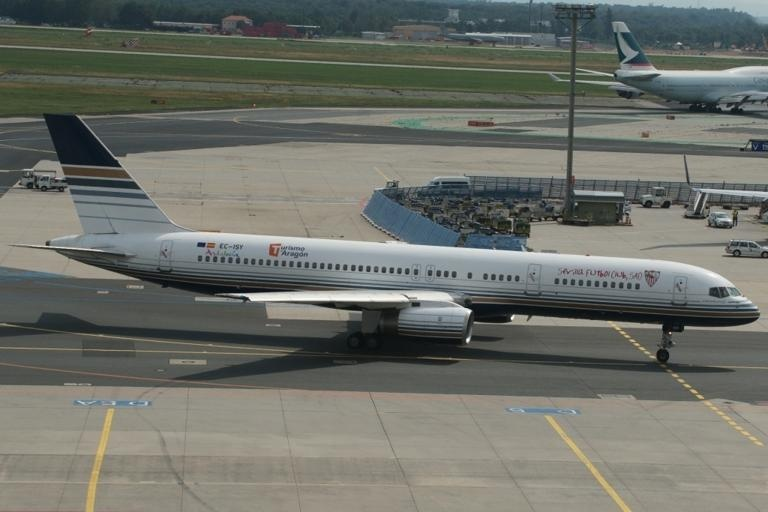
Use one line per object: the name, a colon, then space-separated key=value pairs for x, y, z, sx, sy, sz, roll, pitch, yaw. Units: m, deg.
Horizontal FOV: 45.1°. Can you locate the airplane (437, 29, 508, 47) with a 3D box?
airplane: x=43.881 y=-107.661 z=458.434 sx=28.943 sy=5.764 sz=27.363 roll=7 pitch=14 yaw=28

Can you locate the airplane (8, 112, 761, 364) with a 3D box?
airplane: x=0.846 y=0.663 z=63.731 sx=44.360 sy=6.714 sz=24.650 roll=2 pitch=7 yaw=6
